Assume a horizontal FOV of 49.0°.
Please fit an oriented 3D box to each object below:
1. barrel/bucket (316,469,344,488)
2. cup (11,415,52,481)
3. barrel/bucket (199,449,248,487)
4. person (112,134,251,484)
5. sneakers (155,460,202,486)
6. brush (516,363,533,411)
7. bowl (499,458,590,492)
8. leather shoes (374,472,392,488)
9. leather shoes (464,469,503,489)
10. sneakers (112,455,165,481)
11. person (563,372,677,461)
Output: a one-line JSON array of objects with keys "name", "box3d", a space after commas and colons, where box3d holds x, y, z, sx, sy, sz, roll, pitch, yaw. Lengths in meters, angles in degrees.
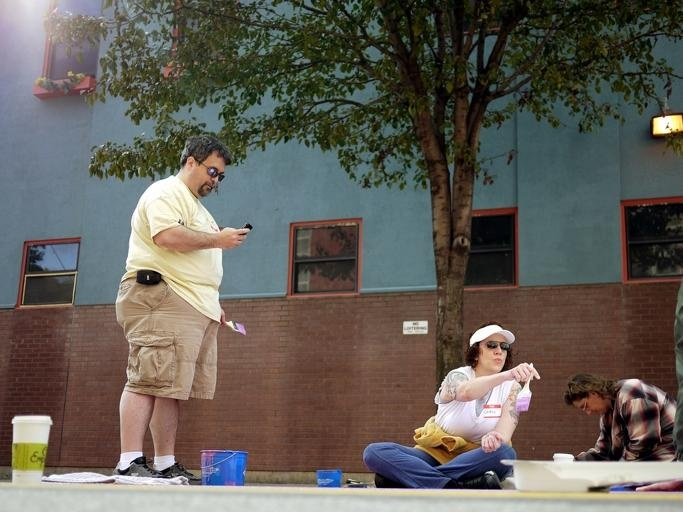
[{"name": "barrel/bucket", "box3d": [-0.111, 1.903, 6.361, 0.183, 0.130, 0.411, 0, -11, -9]}, {"name": "cup", "box3d": [-1.911, 1.184, 4.574, 0.223, 0.399, 0.240, -1, -9, 0]}, {"name": "barrel/bucket", "box3d": [-0.850, 1.521, 5.343, 0.307, 0.219, 0.319, 2, -14, 1]}, {"name": "person", "box3d": [-1.391, 0.333, 6.223, 0.939, 2.949, 0.615, 2, -10, -18]}, {"name": "sneakers", "box3d": [-1.306, 1.745, 5.999, 0.402, 0.182, 0.153, 0, -7, 7]}, {"name": "brush", "box3d": [1.491, 1.117, 6.194, 0.142, 0.362, 0.090, 2, 24, -2]}, {"name": "bowl", "box3d": [0.899, 0.999, 3.412, 0.426, 0.147, 0.175, 1, -10, -12]}, {"name": "leather shoes", "box3d": [0.341, 1.949, 6.463, 0.128, 0.098, 0.124, 0, -2, 4]}, {"name": "leather shoes", "box3d": [1.090, 1.783, 5.977, 0.355, 0.162, 0.124, -7, -15, 35]}, {"name": "sneakers", "box3d": [-1.560, 1.623, 5.802, 0.454, 0.237, 0.158, 3, -6, 6]}, {"name": "person", "box3d": [2.608, 1.507, 6.960, 0.579, 0.814, 0.941, 7, -13, -40]}]
